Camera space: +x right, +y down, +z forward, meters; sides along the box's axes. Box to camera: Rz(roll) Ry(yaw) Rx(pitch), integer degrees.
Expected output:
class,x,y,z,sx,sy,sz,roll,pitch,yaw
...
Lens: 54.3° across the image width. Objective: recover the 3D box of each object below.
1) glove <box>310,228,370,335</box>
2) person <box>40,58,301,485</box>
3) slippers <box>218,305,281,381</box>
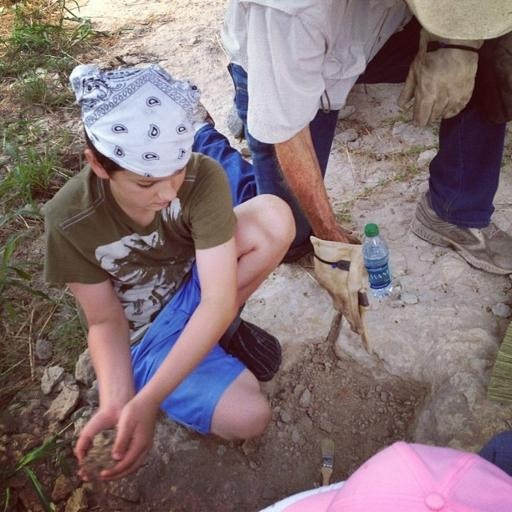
class,x,y,z,sx,sy,sz,roll,pitch,yaw
glove,0.266,0.097,1.736,0.123,0.276,0.298,-27,69,32
person,-0.239,0.045,1.448,0.745,1.049,0.779,-1,41,-6
slippers,-0.025,0.319,1.767,0.225,0.220,0.133,32,80,28
